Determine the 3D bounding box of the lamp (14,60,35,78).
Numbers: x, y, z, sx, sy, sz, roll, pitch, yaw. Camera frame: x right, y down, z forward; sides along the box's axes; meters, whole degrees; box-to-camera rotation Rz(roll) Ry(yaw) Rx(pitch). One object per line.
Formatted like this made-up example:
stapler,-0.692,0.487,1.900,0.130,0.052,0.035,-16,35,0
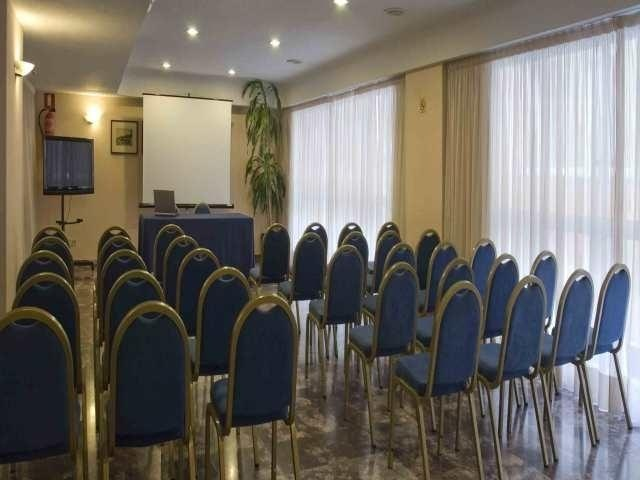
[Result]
lamp,-3.399,-1.986,6.031,0.183,0.202,0.428,-3,3,-30

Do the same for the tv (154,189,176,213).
tv,-2.274,-0.562,7.687,0.270,0.354,0.331,-2,3,-24

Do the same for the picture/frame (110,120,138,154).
picture/frame,-3.923,-2.074,10.541,0.500,0.812,0.032,-1,-28,-21
